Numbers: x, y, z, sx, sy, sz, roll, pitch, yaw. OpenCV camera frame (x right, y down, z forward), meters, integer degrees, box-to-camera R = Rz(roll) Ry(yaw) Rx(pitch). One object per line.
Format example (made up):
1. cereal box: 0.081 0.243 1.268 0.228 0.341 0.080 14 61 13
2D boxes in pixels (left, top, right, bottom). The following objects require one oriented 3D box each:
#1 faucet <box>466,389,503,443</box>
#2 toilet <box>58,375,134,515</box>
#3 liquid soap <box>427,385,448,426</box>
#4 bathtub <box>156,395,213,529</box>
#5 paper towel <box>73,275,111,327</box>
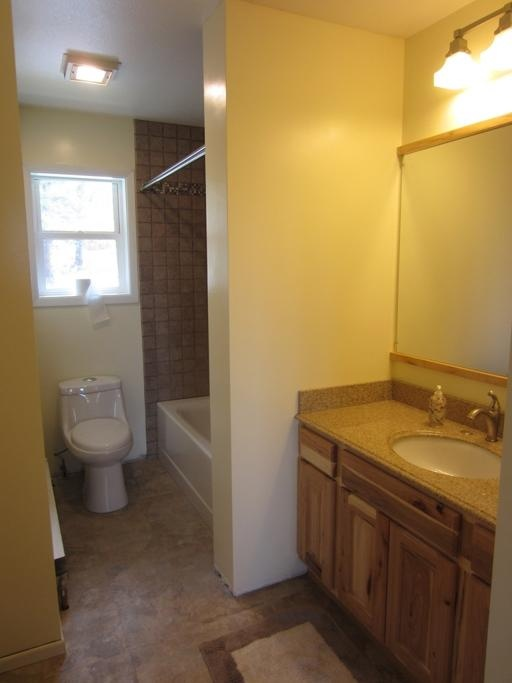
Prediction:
1. faucet: 0.750 0.238 1.717 0.104 0.170 0.254 2 9 23
2. toilet: -0.922 0.606 3.101 0.332 0.705 0.455 -8 20 -29
3. liquid soap: 0.649 0.233 1.880 0.052 0.133 0.061 1 8 14
4. bathtub: -0.390 0.618 3.166 0.349 0.337 0.899 -3 11 -21
5. paper towel: -1.020 -0.247 3.300 0.110 0.321 0.172 -16 10 2
